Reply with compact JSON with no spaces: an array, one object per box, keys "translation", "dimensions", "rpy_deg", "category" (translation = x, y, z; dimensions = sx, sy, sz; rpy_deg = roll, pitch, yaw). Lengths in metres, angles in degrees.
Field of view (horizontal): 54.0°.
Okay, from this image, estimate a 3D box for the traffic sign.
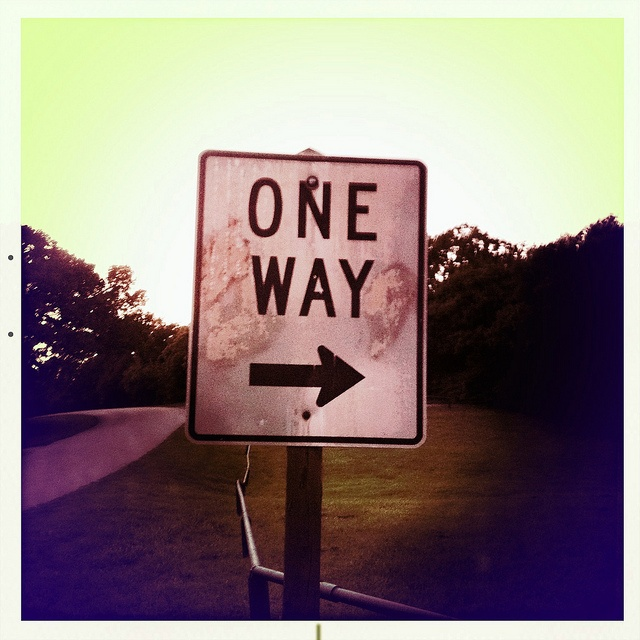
[{"translation":[-0.028,-0.105,1.902],"dimensions":[0.670,1.053,0.045],"rpy_deg":[1,-32,-4],"category":"traffic sign"}]
